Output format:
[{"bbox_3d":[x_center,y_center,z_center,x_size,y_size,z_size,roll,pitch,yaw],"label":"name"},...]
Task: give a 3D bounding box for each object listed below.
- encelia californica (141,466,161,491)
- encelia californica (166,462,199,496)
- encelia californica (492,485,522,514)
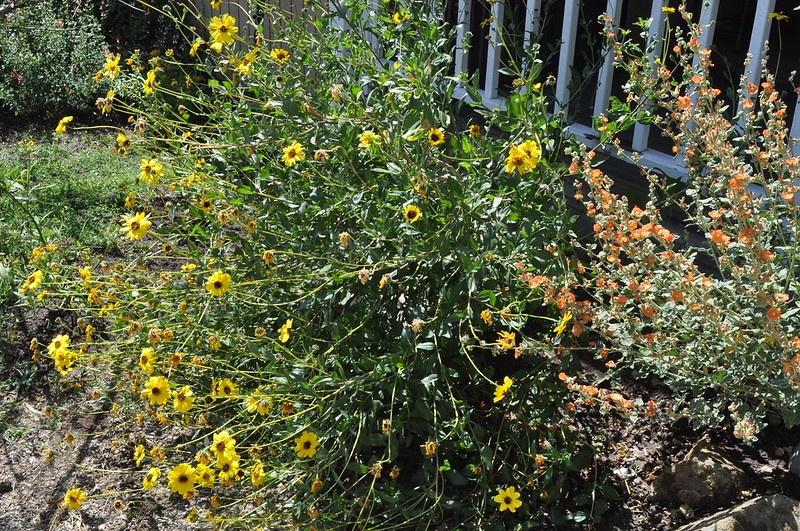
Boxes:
[{"bbox_3d":[-1.129,0.960,2.932,0.074,0.129,0.075,-8,30,-17],"label":"encelia californica"},{"bbox_3d":[-0.957,0.941,2.845,0.141,0.150,0.044,-22,5,-19],"label":"encelia californica"},{"bbox_3d":[0.505,1.066,2.995,0.120,0.153,0.156,7,29,9],"label":"encelia californica"}]
